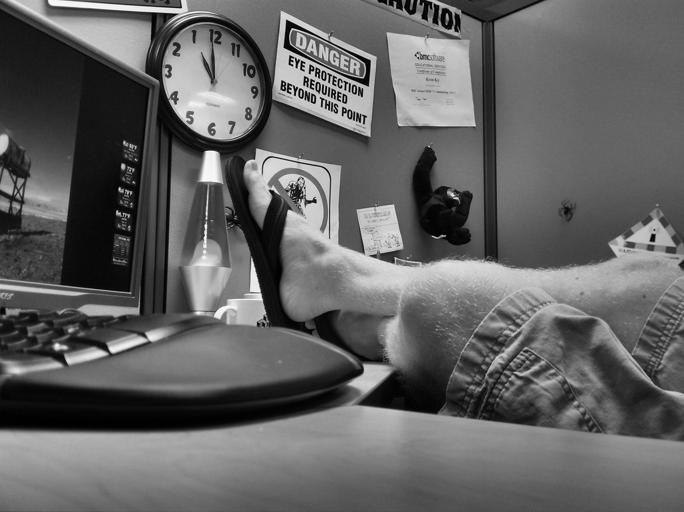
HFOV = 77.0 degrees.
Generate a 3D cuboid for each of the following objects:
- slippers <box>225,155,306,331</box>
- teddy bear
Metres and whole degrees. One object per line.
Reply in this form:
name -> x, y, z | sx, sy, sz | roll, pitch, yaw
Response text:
slippers -> -0.152, -0.012, 0.856 | 0.121, 0.410, 0.101 | -5, 0, -32
teddy bear -> 0.314, -0.186, 1.379 | 0.121, 0.252, 0.245 | 2, -20, 8
